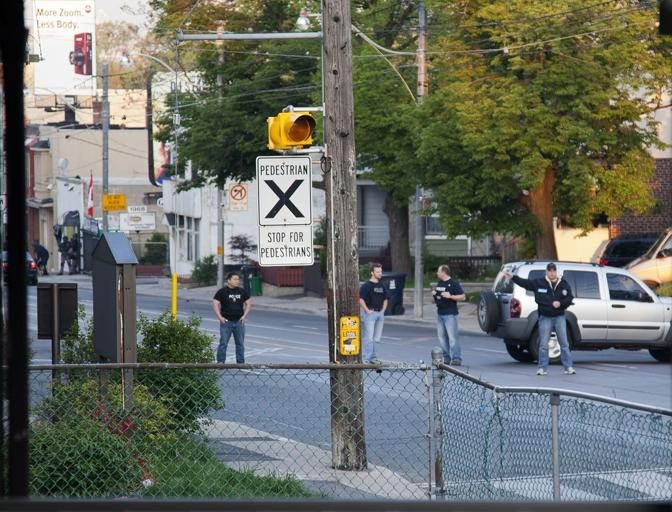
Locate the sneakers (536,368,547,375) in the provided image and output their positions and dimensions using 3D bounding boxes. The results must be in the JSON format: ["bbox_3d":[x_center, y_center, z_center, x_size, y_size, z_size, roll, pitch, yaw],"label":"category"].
[{"bbox_3d":[4.418,2.466,31.340,0.099,0.124,0.295,-1,-9,17],"label":"sneakers"}]

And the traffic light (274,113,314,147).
[{"bbox_3d":[-0.694,-2.208,25.621,0.561,0.580,0.793,0,-2,-11],"label":"traffic light"}]

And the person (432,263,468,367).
[{"bbox_3d":[2.514,1.314,32.724,0.679,2.215,1.295,2,4,4],"label":"person"}]

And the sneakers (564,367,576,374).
[{"bbox_3d":[5.029,2.468,31.477,0.100,0.117,0.261,2,-5,-16],"label":"sneakers"}]

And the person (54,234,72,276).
[{"bbox_3d":[-10.250,-0.054,55.363,0.500,1.510,2.070,2,5,-5],"label":"person"}]
